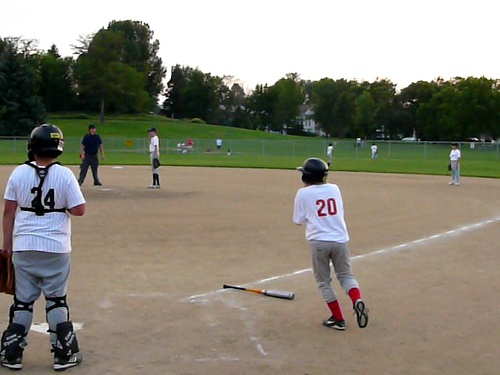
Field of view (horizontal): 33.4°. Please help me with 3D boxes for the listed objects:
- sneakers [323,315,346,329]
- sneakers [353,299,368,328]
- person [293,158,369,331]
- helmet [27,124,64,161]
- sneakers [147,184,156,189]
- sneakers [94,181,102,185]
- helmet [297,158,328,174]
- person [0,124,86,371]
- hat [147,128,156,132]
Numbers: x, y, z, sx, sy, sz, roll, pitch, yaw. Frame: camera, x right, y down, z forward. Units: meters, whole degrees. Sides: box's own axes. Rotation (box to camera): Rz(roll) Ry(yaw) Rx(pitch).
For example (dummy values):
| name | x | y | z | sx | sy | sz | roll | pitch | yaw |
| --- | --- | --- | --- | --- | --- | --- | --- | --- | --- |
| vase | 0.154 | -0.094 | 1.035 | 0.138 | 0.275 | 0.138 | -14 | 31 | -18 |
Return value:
| name | x | y | z | sx | sy | sz | roll | pitch | yaw |
| --- | --- | --- | --- | --- | --- | --- | --- | --- | --- |
| sneakers | 1.211 | 1.929 | 11.887 | 0.347 | 0.154 | 0.135 | 10 | 10 | 30 |
| sneakers | 1.582 | 1.759 | 11.637 | 0.180 | 0.427 | 0.185 | -3 | -9 | -9 |
| person | 1.118 | 0.797 | 11.881 | 1.044 | 2.327 | 0.501 | 11 | 17 | 41 |
| helmet | -2.700 | -0.577 | 10.973 | 0.413 | 0.484 | 0.485 | -4 | 19 | -30 |
| sneakers | -2.746 | -0.008 | 23.125 | 0.087 | 0.098 | 0.253 | -1 | 4 | -41 |
| sneakers | -4.325 | -0.137 | 23.618 | 0.231 | 0.077 | 0.154 | -3 | -34 | -12 |
| helmet | 0.896 | -0.300 | 11.943 | 0.324 | 0.167 | 0.241 | 11 | 10 | 35 |
| person | -2.738 | 0.767 | 10.929 | 1.122 | 3.056 | 1.066 | -3 | 13 | -9 |
| hat | -2.580 | -1.512 | 21.955 | 0.207 | 0.124 | 0.298 | -4 | 9 | -24 |
